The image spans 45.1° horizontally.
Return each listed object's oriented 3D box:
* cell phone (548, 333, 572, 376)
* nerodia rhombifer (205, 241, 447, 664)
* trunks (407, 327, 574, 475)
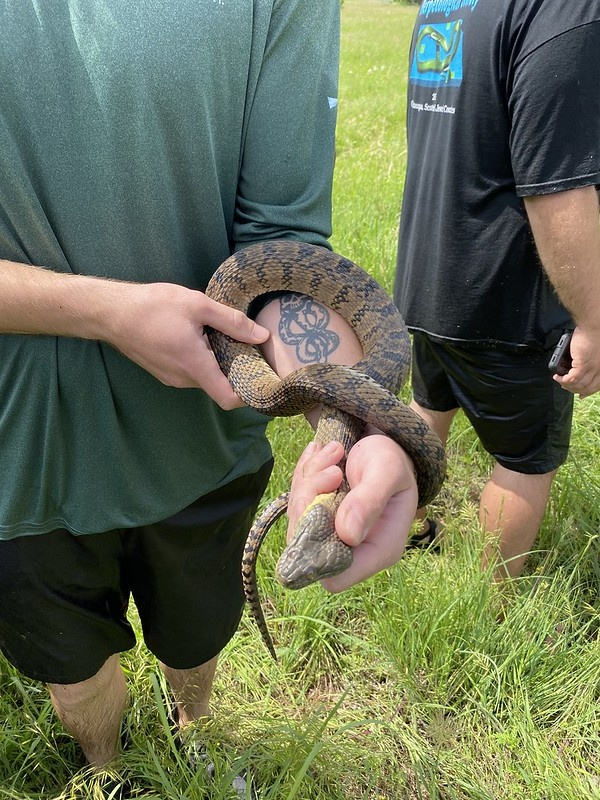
[{"bbox_3d":[1.170,-0.208,3.235,0.103,0.142,0.144,-30,49,-7],"label":"cell phone"},{"bbox_3d":[0.057,0.091,2.111,0.697,0.242,1.169,3,50,-10],"label":"nerodia rhombifer"},{"bbox_3d":[0.940,-0.028,3.487,0.486,0.567,0.844,-7,14,-37],"label":"trunks"}]
